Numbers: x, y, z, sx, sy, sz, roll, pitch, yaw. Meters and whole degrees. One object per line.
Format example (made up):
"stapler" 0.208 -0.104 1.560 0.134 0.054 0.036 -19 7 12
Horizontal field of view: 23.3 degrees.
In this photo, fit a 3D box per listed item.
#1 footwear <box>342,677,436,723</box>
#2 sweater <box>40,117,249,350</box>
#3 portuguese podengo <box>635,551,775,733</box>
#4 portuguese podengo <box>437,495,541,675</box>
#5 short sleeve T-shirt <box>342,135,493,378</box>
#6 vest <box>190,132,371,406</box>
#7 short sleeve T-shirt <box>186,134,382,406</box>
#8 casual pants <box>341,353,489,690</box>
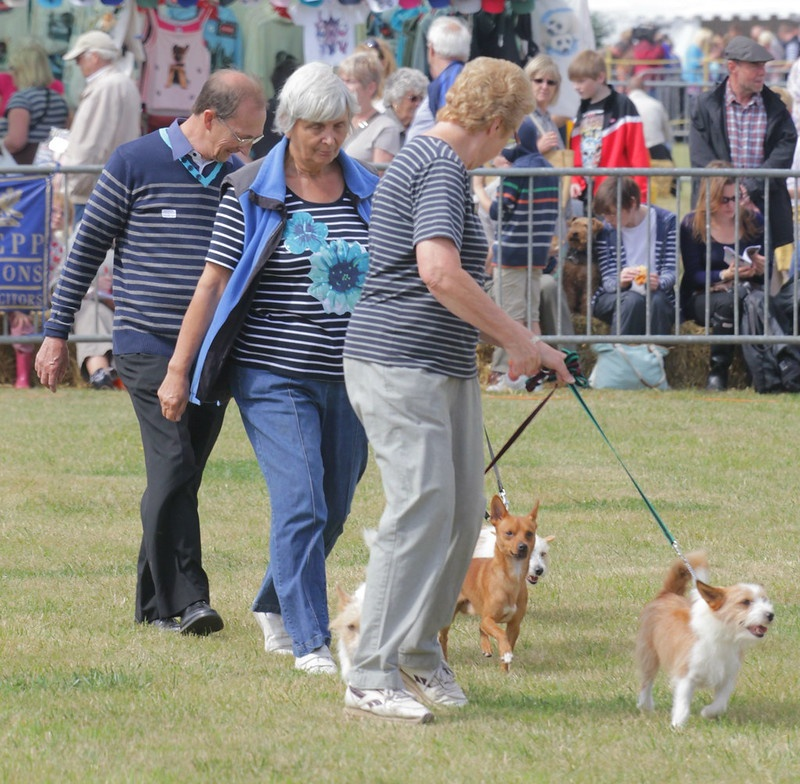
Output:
"footwear" -0.051 1.174 7.336 0.310 0.163 0.133 4 -3 15
"sweater" -0.995 -0.793 8.690 1.185 1.131 0.408 -14 48 -28
"portuguese podengo" 1.177 0.981 7.751 0.291 0.742 0.872 11 -6 -15
"portuguese podengo" 0.355 0.916 8.791 0.216 0.853 0.920 5 -2 -23
"short sleeve T-shirt" 0.056 -0.542 7.484 0.410 0.912 0.758 8 1 -9
"vest" -0.391 -0.500 8.032 0.838 1.155 0.576 17 -27 -28
"short sleeve T-shirt" -0.416 -0.417 8.163 0.838 1.203 0.618 2 9 -15
"casual pants" 0.041 0.510 7.346 0.544 1.227 0.276 2 4 -3
